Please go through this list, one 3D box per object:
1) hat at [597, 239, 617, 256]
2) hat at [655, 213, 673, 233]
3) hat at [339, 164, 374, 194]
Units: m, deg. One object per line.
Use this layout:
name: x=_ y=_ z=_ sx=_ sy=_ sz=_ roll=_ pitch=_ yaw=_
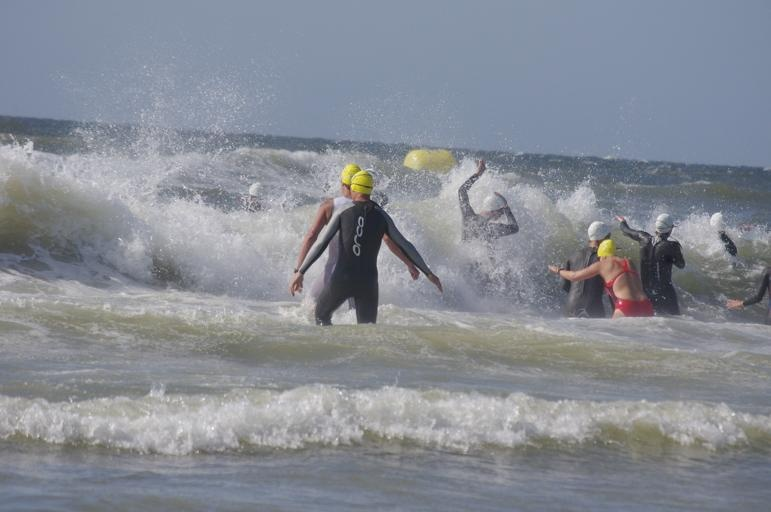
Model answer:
hat: x=3.460 y=-0.127 z=17.371 sx=0.275 sy=0.257 sz=0.316 roll=5 pitch=1 yaw=12
hat: x=4.831 y=-0.553 z=19.265 sx=0.277 sy=0.279 sz=0.337 roll=-6 pitch=42 yaw=16
hat: x=-0.391 y=-1.101 z=15.954 sx=0.362 sy=0.266 sz=0.546 roll=1 pitch=15 yaw=-38
